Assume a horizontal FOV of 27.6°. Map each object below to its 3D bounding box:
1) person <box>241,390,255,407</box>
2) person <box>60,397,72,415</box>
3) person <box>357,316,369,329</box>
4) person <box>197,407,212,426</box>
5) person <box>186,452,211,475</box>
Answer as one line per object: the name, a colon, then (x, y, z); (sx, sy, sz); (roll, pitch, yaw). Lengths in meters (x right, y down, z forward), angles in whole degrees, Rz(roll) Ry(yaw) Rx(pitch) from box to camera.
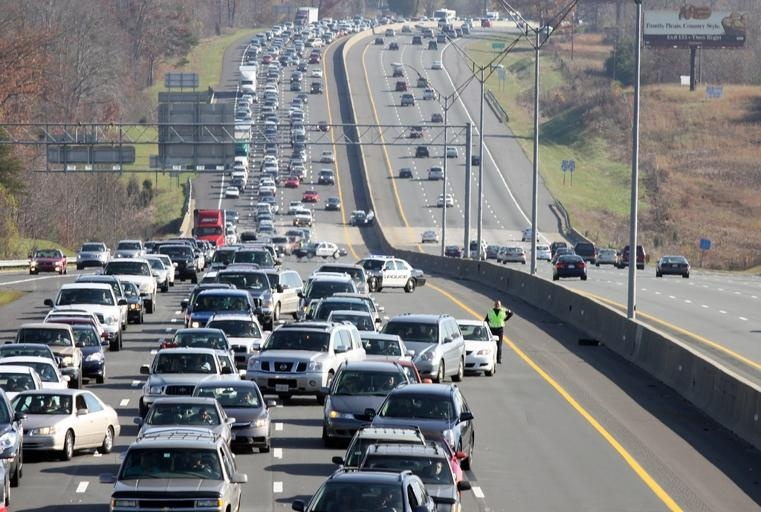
person: (-6.015, 6.466, 70.853); (0.422, 0.371, 0.754); (2, 5, -3)
person: (-14.248, 6.673, 69.953); (0.747, 0.760, 0.471); (2, 11, 0)
person: (-0.738, 3.474, 81.126); (0.398, 0.386, 0.720); (3, 10, 0)
person: (-7.725, 7.173, 69.189); (0.566, 0.895, 0.439); (-1, -20, -2)
person: (-7.492, 8.678, 65.173); (0.949, 0.991, 0.427); (1, 11, -4)
